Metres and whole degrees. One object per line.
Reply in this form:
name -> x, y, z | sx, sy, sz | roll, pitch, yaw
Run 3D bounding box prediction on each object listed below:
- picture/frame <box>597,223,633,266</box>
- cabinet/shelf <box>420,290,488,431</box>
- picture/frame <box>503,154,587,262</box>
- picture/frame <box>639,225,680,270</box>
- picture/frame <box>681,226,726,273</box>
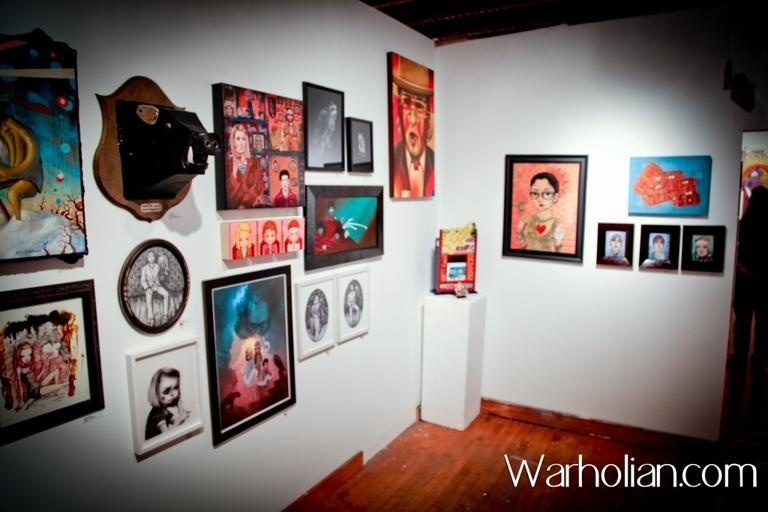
picture/frame -> 2.117, -0.124, 4.774 | 0.293, 0.441, 0.043 | 5, 24, 27
cabinet/shelf -> 0.668, 1.013, 5.147 | 0.628, 1.274, 0.351 | 2, 9, 4
picture/frame -> 1.555, -0.497, 4.969 | 0.922, 1.323, 0.088 | 3, 6, 27
picture/frame -> 2.431, -0.095, 4.637 | 0.323, 0.468, 0.052 | 3, 35, 27
picture/frame -> 2.766, -0.078, 4.513 | 0.362, 0.524, 0.025 | 2, 5, 23
